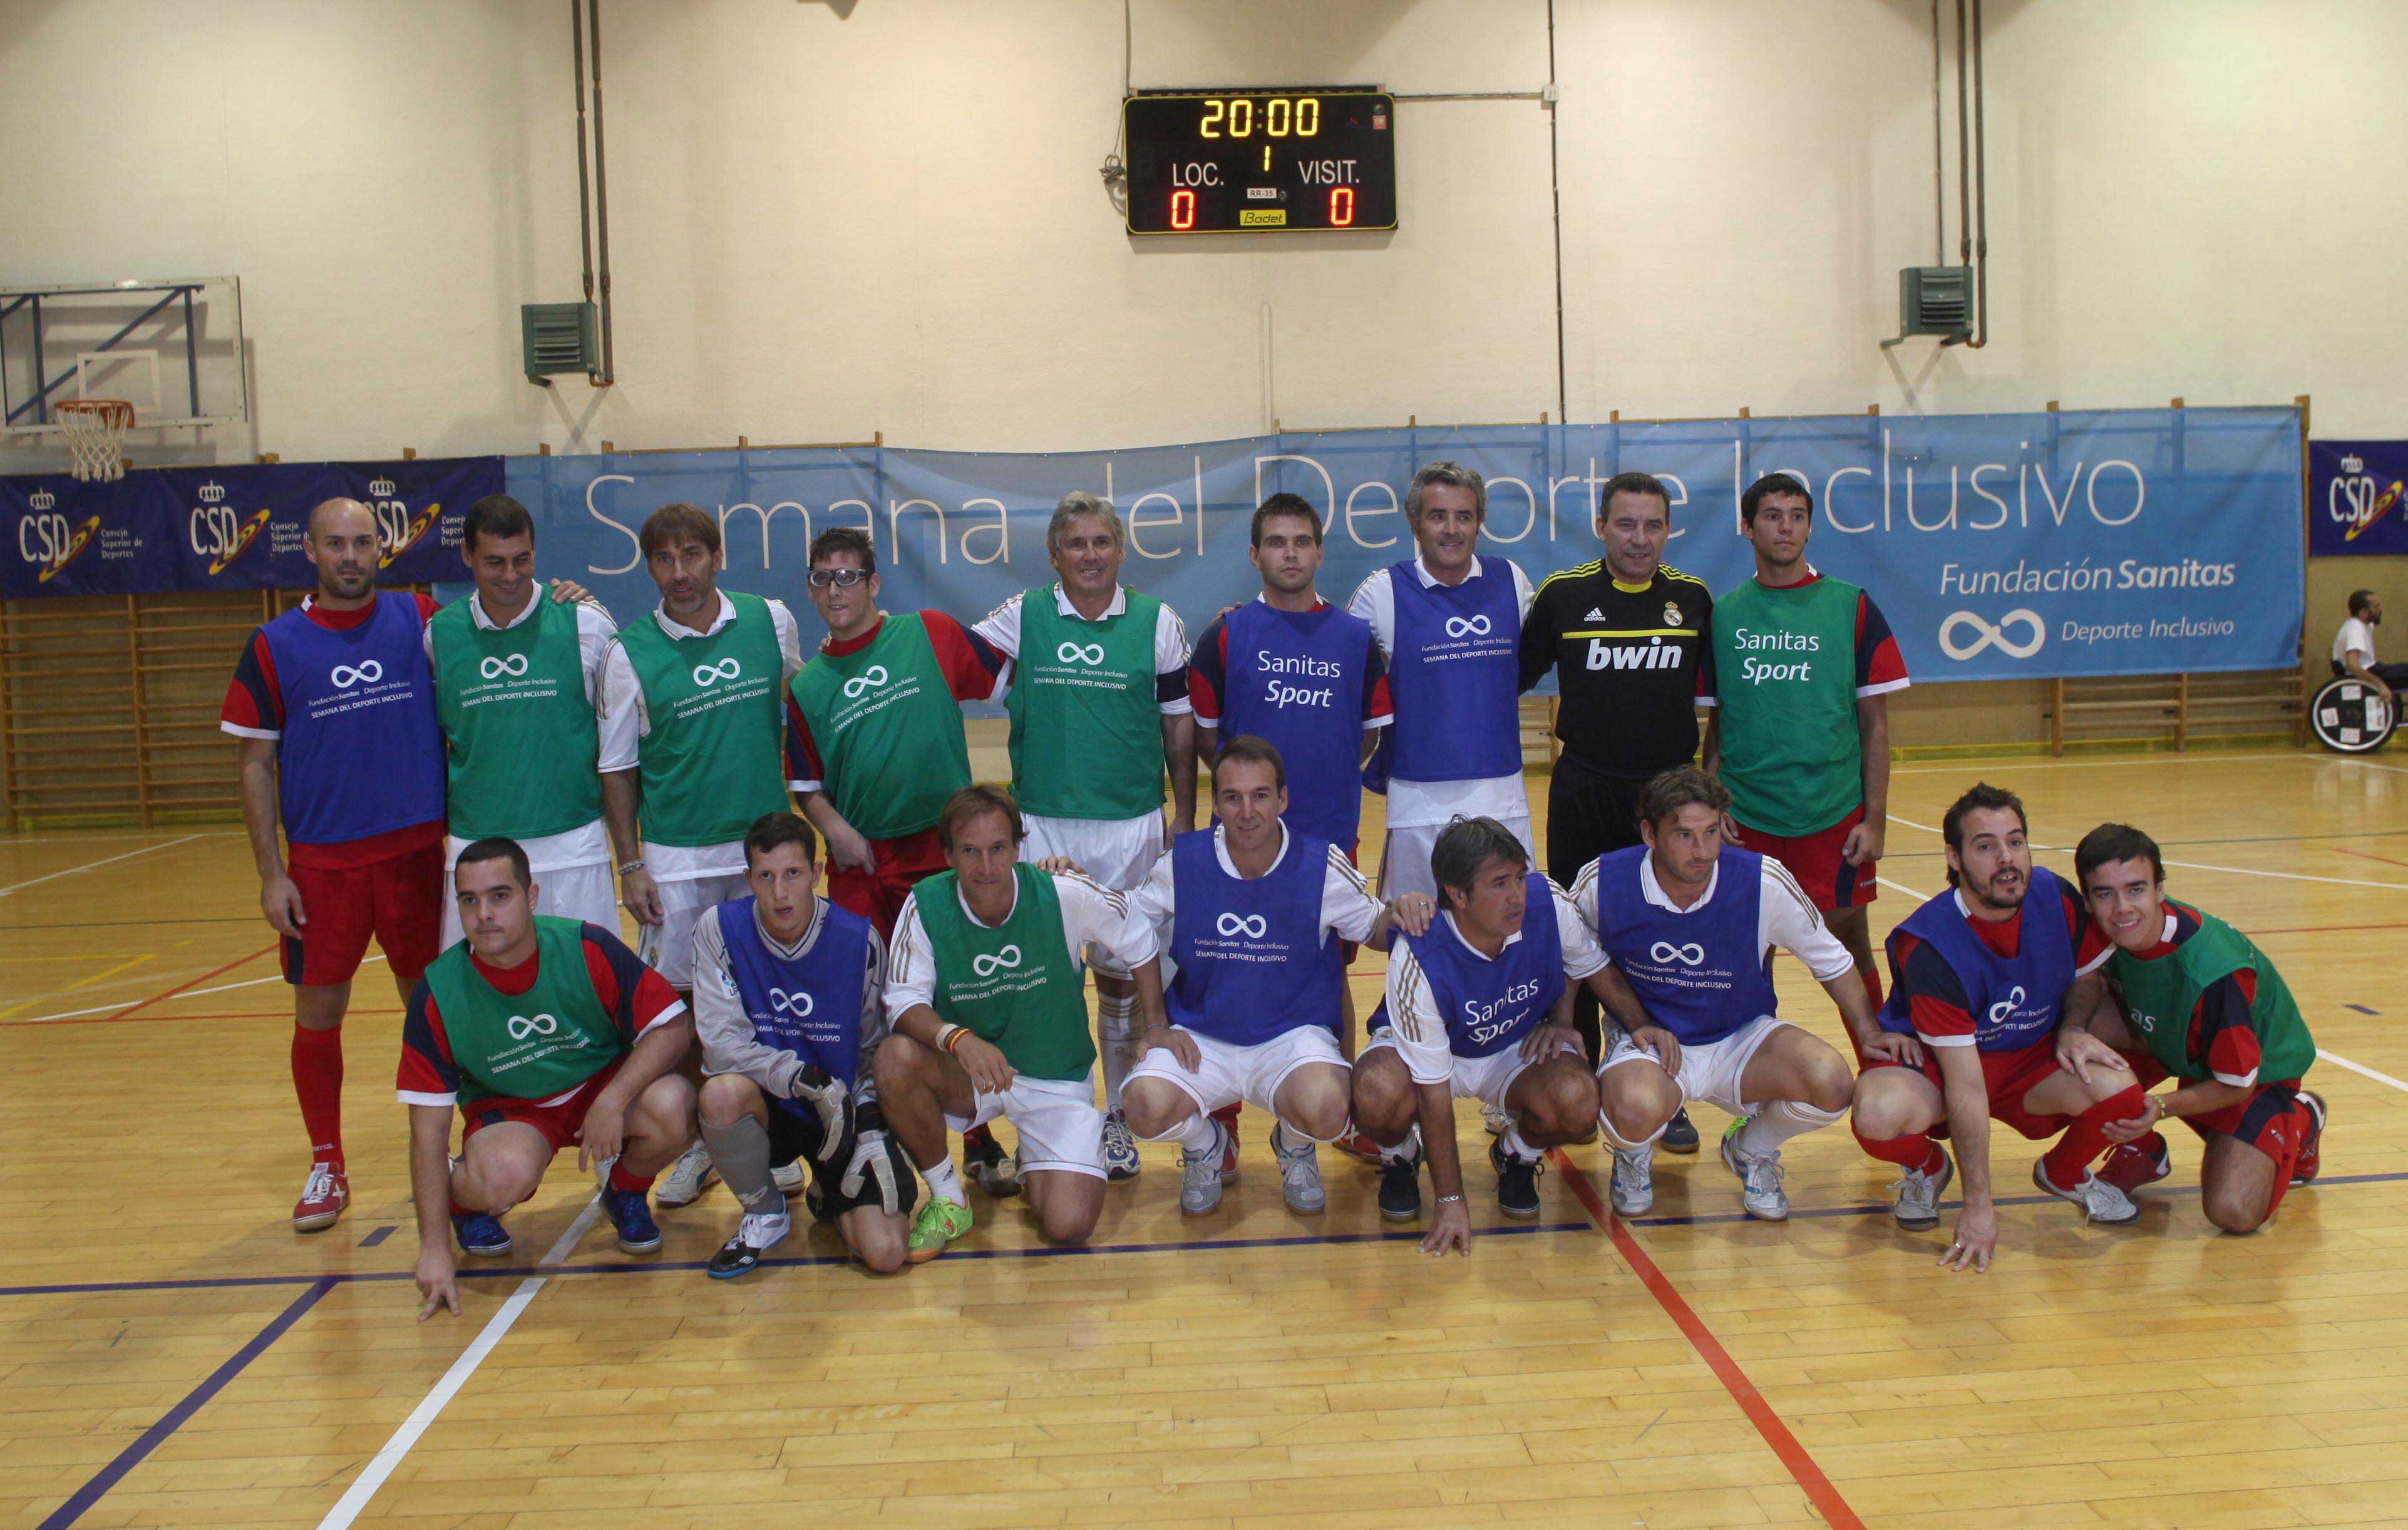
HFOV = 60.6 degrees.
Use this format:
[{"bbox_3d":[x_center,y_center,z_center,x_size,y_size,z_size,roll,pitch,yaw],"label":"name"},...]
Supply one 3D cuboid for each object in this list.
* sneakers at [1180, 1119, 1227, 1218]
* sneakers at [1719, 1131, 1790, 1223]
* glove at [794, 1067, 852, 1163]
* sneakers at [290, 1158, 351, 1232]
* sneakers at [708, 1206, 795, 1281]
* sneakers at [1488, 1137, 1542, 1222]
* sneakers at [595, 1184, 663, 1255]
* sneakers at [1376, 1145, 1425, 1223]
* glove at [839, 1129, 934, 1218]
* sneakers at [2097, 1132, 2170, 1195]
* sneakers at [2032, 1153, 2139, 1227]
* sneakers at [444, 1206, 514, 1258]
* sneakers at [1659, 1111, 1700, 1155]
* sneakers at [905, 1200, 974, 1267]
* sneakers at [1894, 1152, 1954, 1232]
[{"bbox_3d":[0.020,1.546,8.120,0.231,0.405,0.208,-5,10,-11],"label":"sneakers"},{"bbox_3d":[2.144,1.581,7.973,0.152,0.191,0.421,-10,51,-12],"label":"sneakers"},{"bbox_3d":[-1.423,1.327,7.845,0.195,0.329,0.135,-4,10,-8],"label":"glove"},{"bbox_3d":[-3.523,1.692,8.217,0.215,0.247,0.258,-7,11,-25],"label":"sneakers"},{"bbox_3d":[-1.733,1.809,7.889,0.148,0.168,0.381,2,2,12],"label":"sneakers"},{"bbox_3d":[1.237,1.585,8.086,0.179,0.308,0.285,-1,10,9],"label":"sneakers"},{"bbox_3d":[-2.224,1.740,8.021,0.209,0.247,0.247,-6,10,-17],"label":"sneakers"},{"bbox_3d":[0.784,1.613,8.103,0.168,0.273,0.253,-2,10,5],"label":"sneakers"},{"bbox_3d":[-1.234,1.557,7.875,0.320,0.374,0.194,-6,11,-18],"label":"glove"},{"bbox_3d":[3.590,1.516,7.903,0.393,0.166,0.132,-4,2,-37],"label":"sneakers"},{"bbox_3d":[3.394,1.634,7.933,0.379,0.153,0.214,31,60,14],"label":"sneakers"},{"bbox_3d":[-2.766,1.789,7.920,0.290,0.133,0.101,-2,-4,33],"label":"sneakers"},{"bbox_3d":[1.955,1.518,8.465,0.098,0.130,0.300,-1,-6,2],"label":"sneakers"},{"bbox_3d":[-1.007,1.766,7.952,0.262,0.203,0.172,-5,10,-13],"label":"sneakers"},{"bbox_3d":[2.778,1.641,7.925,0.135,0.147,0.342,-21,9,38],"label":"sneakers"}]
